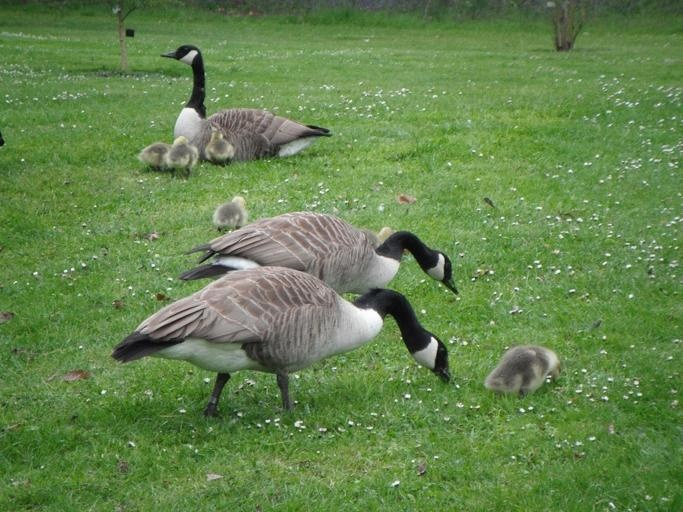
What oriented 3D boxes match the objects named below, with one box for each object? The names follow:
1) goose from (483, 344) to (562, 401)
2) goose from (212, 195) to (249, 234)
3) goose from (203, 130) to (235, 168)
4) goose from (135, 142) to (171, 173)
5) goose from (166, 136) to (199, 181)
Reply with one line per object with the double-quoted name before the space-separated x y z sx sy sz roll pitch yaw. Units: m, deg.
"goose" 2.383 1.448 11.382 0.963 0.545 0.515 -31 45 -3
"goose" -1.789 -0.686 14.085 0.431 0.445 0.637 6 22 8
"goose" -2.347 -2.045 16.503 0.480 0.462 0.674 -1 35 -6
"goose" -3.482 -1.844 16.081 0.582 0.487 0.426 1 22 -12
"goose" -2.910 -1.812 15.984 0.489 0.551 0.819 1 37 -6
